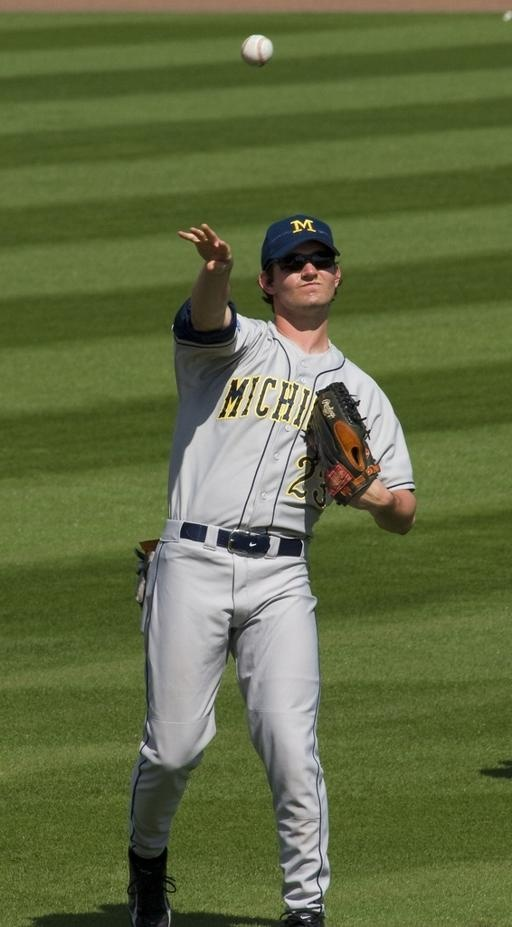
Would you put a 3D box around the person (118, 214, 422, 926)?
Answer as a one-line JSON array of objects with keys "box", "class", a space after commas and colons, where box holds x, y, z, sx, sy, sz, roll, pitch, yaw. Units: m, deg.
[{"box": [0.035, 0.439, 4.415, 0.869, 2.440, 1.381, 4, 24, 7], "class": "person"}]

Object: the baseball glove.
[{"box": [0.258, -0.082, 4.397, 0.196, 0.228, 0.393, 1, 58, -30], "class": "baseball glove"}]
